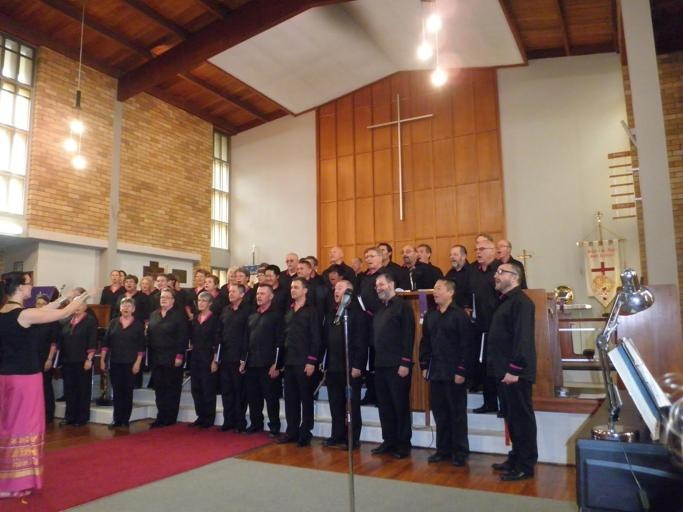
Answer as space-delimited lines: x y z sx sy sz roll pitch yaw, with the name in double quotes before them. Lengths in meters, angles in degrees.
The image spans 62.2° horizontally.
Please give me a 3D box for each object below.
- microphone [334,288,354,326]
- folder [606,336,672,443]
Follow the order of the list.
"microphone" 0.011 0.407 4.457 0.070 0.321 0.179 18 11 0
"folder" 1.862 0.832 3.493 0.307 0.650 0.447 -6 -8 41
